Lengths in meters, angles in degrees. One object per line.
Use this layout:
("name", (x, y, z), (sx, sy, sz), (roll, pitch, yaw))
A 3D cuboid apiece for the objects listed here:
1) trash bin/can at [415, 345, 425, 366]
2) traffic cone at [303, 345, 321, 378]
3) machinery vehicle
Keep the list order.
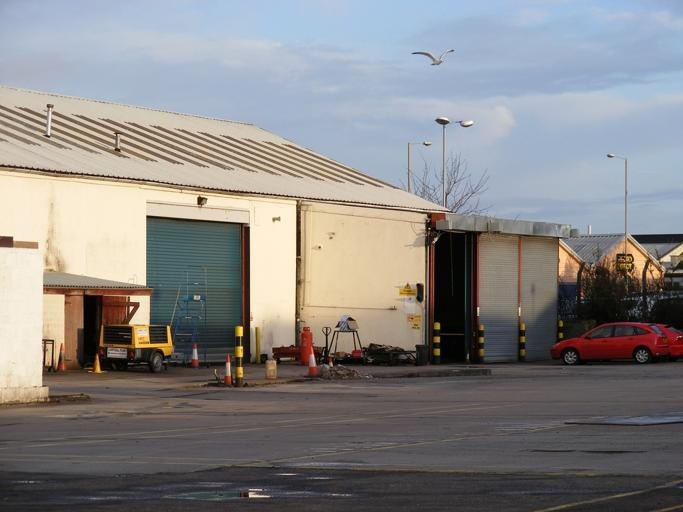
("trash bin/can", (2.639, 3.280, 47.198), (0.351, 0.681, 0.625), (-2, -5, 3))
("traffic cone", (-0.886, 3.125, 41.776), (0.620, 0.846, 0.620), (2, 8, 25))
("machinery vehicle", (-5.834, 2.642, 40.472), (2.023, 1.367, 1.186), (-1, -5, -12))
